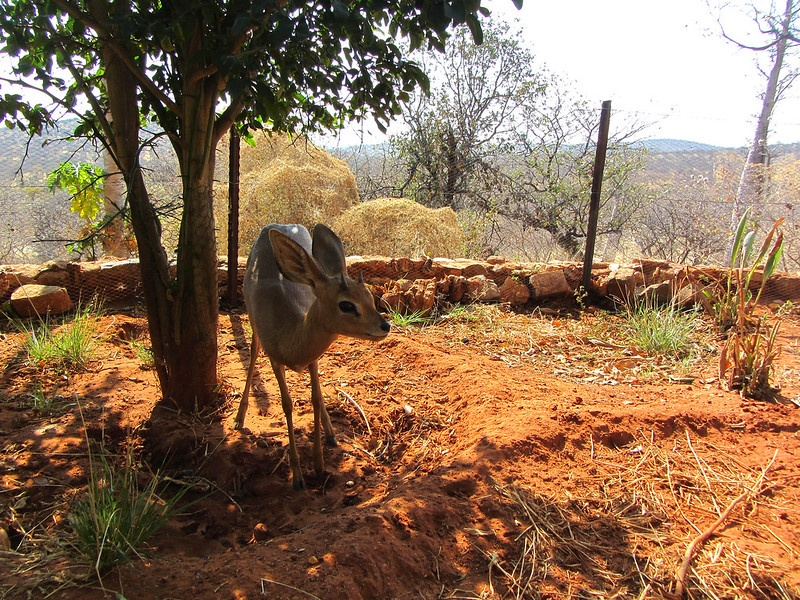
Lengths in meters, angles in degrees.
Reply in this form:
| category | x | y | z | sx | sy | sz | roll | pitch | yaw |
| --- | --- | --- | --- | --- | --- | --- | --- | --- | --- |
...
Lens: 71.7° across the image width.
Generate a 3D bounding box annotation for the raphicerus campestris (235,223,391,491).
| category | x | y | z | sx | sy | sz | roll | pitch | yaw |
| --- | --- | --- | --- | --- | --- | --- | --- | --- | --- |
| raphicerus campestris | -0.779 | 0.373 | 4.277 | 0.660 | 1.920 | 2.062 | -16 | 22 | -35 |
